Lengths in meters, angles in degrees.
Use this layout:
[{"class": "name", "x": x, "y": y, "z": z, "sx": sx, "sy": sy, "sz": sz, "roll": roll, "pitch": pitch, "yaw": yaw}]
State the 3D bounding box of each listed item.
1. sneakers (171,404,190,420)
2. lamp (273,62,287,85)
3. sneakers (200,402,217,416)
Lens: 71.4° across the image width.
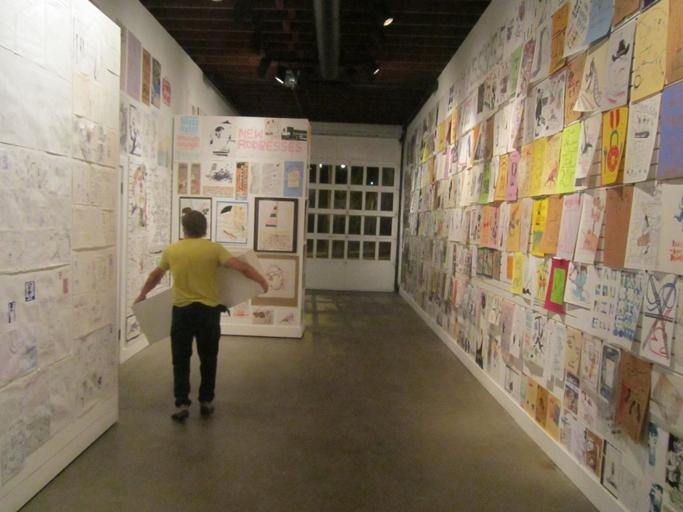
[{"class": "sneakers", "x": -1.401, "y": 1.355, "z": 4.118, "sx": 0.077, "sy": 0.156, "sz": 0.200, "roll": 6, "pitch": -9, "yaw": -33}, {"class": "lamp", "x": -1.022, "y": -3.124, "z": 8.153, "sx": 0.253, "sy": 0.379, "sz": 0.212, "roll": 1, "pitch": 21, "yaw": -14}, {"class": "sneakers", "x": -1.166, "y": 1.342, "z": 4.165, "sx": 0.058, "sy": 0.078, "sz": 0.169, "roll": 1, "pitch": -3, "yaw": 5}]
